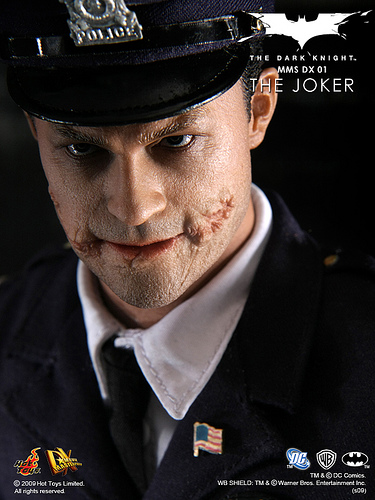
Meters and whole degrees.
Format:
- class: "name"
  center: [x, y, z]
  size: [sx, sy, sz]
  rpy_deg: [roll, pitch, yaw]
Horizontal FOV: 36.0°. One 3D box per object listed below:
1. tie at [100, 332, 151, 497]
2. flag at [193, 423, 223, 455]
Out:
- class: "tie"
  center: [-0.156, 0.494, 1.712]
  size: [0.136, 0.416, 0.120]
  rpy_deg: [-8, 2, 20]
- class: "flag"
  center: [0.058, 0.528, 1.611]
  size: [0.091, 0.074, 0.023]
  rpy_deg: [6, 2, 3]
